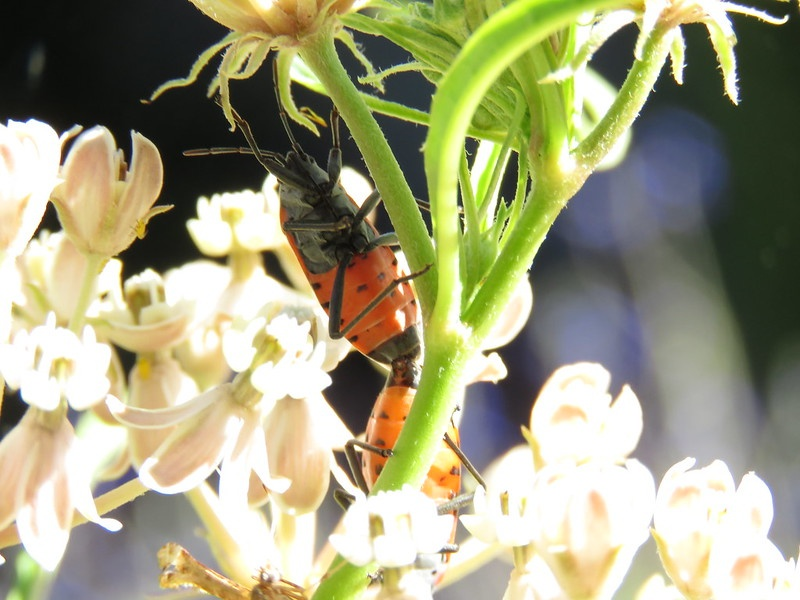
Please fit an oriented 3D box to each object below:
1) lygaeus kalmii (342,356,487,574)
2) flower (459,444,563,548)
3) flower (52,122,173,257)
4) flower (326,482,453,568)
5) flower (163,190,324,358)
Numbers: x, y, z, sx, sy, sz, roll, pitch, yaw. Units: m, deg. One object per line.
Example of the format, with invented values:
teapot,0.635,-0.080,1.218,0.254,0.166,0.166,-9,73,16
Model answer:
lygaeus kalmii,0.030,0.188,0.889,0.069,0.177,0.254,12,-22,14
flower,0.086,0.153,0.713,0.070,0.037,0.096,-20,26,26
flower,-0.225,-0.086,0.726,0.087,0.106,0.039,-6,3,-1
flower,-0.003,0.155,0.653,0.087,0.074,0.025,-7,-9,-7
flower,-0.123,-0.027,0.895,0.130,0.167,0.147,-8,2,3
